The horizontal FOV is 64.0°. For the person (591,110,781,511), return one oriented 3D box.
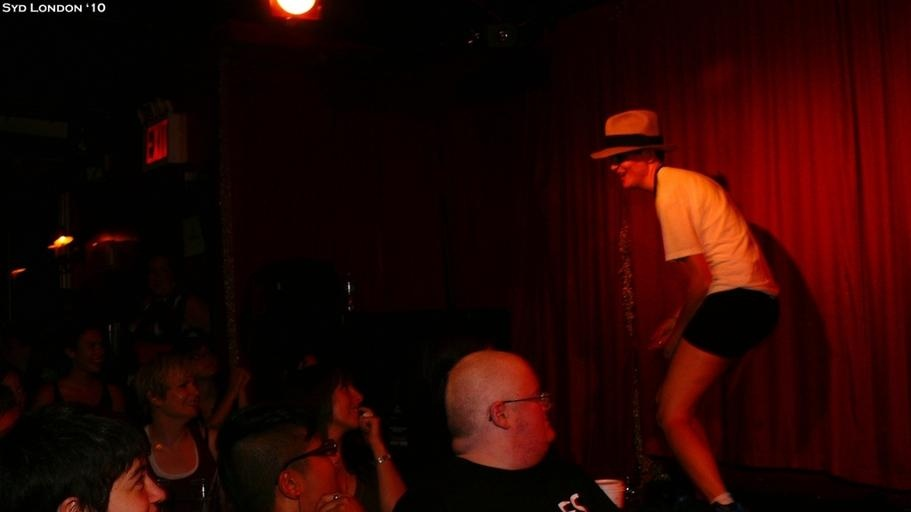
[{"bbox_3d":[1.683,0.307,5.208,1.147,2.860,0.455,2,-3,23],"label":"person"}]

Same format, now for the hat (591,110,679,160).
[{"bbox_3d":[1.375,-0.949,5.630,0.656,0.349,0.590,4,16,24],"label":"hat"}]
